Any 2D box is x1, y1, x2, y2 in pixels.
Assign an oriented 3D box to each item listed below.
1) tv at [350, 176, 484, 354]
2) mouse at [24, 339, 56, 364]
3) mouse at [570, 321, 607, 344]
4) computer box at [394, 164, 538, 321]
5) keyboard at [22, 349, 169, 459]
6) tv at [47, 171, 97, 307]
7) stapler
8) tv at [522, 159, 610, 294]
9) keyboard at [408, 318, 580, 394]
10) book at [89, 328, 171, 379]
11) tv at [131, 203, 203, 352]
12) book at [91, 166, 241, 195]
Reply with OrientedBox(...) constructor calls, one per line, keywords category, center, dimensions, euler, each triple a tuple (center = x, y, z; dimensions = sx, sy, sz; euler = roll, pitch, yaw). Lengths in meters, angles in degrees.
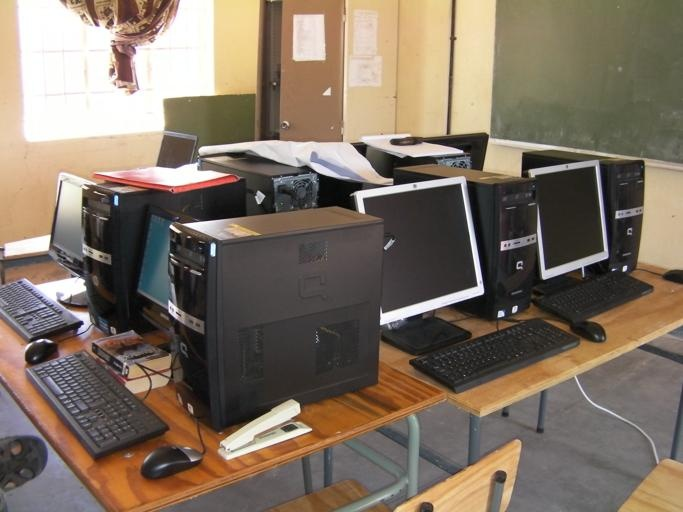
OrientedBox(category="tv", center=(0.259, 0.033, 2.010), dimensions=(0.542, 0.552, 0.201), euler=(-13, 15, -35))
OrientedBox(category="mouse", center=(-0.955, 0.302, 1.879), dimensions=(0.058, 0.044, 0.098), euler=(10, 20, 8))
OrientedBox(category="mouse", center=(0.906, 0.271, 2.153), dimensions=(0.060, 0.033, 0.103), euler=(-10, 16, -26))
OrientedBox(category="computer box", center=(0.540, -0.056, 2.388), dimensions=(0.445, 0.605, 0.377), euler=(-4, 22, -30))
OrientedBox(category="keyboard", center=(-0.724, 0.400, 1.692), dimensions=(0.510, 0.045, 0.202), euler=(24, 29, 38))
OrientedBox(category="tv", center=(-1.051, -0.076, 2.422), dimensions=(0.171, 0.489, 0.501), euler=(-5, 10, -36))
OrientedBox(category="stapler", center=(-0.205, 0.461, 1.602), dimensions=(0.298, 0.112, 0.092), euler=(-15, 26, -32))
OrientedBox(category="tv", center=(0.935, -0.119, 2.469), dimensions=(0.514, 0.536, 0.197), euler=(-12, 10, -36))
OrientedBox(category="keyboard", center=(0.581, 0.335, 2.081), dimensions=(0.692, 0.085, 0.264), euler=(-13, 14, -31))
OrientedBox(category="book", center=(-0.666, 0.307, 1.868), dimensions=(0.228, 0.050, 0.157), euler=(18, 19, 36))
OrientedBox(category="tv", center=(-0.538, 0.063, 1.804), dimensions=(0.155, 0.431, 0.438), euler=(7, 3, -35))
OrientedBox(category="book", center=(-0.620, -0.269, 2.140), dimensions=(0.323, 0.051, 0.229), euler=(13, 20, 32))
